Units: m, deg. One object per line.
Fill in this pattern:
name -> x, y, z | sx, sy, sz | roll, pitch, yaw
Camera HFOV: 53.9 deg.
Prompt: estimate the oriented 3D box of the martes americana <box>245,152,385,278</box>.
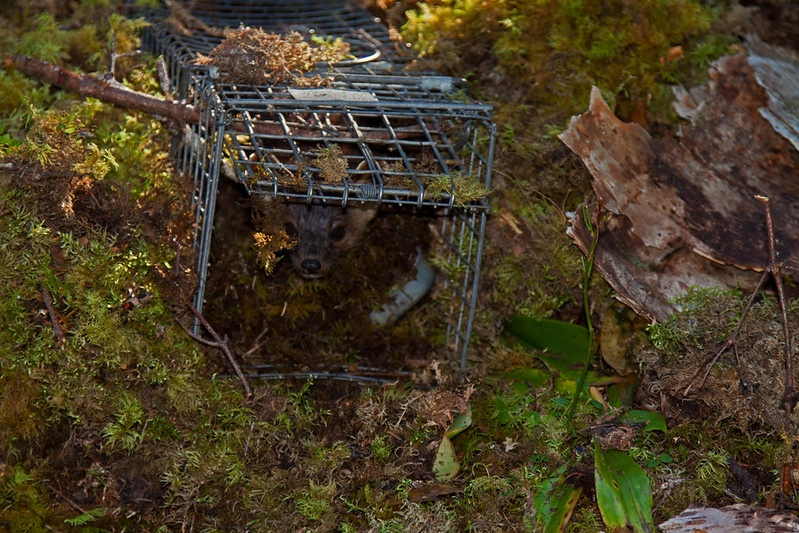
martes americana -> -0.549, -0.324, 5.673 | 0.767, 0.322, 0.820 | 1, 81, -11
